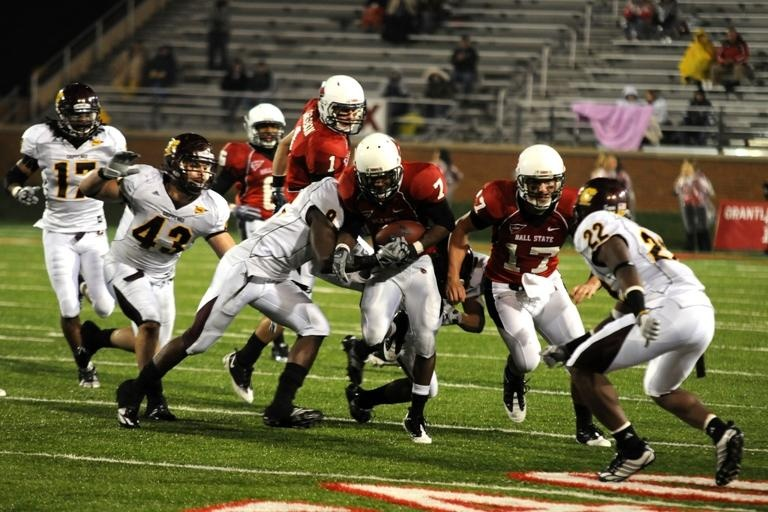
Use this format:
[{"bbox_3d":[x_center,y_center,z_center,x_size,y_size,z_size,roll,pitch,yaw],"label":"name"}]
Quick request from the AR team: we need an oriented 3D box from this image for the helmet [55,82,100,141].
[{"bbox_3d":[-2.799,-1.330,10.139,0.416,0.449,0.498,-2,8,-11],"label":"helmet"}]

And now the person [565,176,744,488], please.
[{"bbox_3d":[2.049,0.533,8.211,1.314,2.069,1.095,3,15,9],"label":"person"}]

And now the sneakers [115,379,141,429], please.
[{"bbox_3d":[-2.040,1.164,8.706,0.167,0.354,0.192,-5,16,-21],"label":"sneakers"}]

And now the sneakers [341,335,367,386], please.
[{"bbox_3d":[-0.244,0.857,9.243,0.164,0.445,0.215,0,-6,16],"label":"sneakers"}]

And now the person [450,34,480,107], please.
[{"bbox_3d":[1.472,-3.396,19.861,0.476,1.144,0.500,2,15,3],"label":"person"}]

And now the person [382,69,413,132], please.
[{"bbox_3d":[0.215,-2.747,19.863,0.479,1.123,0.500,1,15,-1],"label":"person"}]

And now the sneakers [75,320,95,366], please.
[{"bbox_3d":[-2.665,0.759,9.699,0.136,0.373,0.274,9,-11,-20],"label":"sneakers"}]

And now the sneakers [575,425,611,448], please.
[{"bbox_3d":[1.650,1.413,8.656,0.279,0.110,0.142,2,4,27],"label":"sneakers"}]

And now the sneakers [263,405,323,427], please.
[{"bbox_3d":[-0.721,1.259,8.778,0.495,0.206,0.179,-2,-7,-5],"label":"sneakers"}]

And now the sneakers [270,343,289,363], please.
[{"bbox_3d":[-1.010,0.938,10.620,0.152,0.113,0.278,0,-3,-12],"label":"sneakers"}]

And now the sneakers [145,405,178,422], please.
[{"bbox_3d":[-1.828,1.272,8.869,0.310,0.121,0.105,-1,-3,12],"label":"sneakers"}]

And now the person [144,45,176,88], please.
[{"bbox_3d":[-4.485,-3.846,22.047,0.701,0.870,0.293,-7,1,16],"label":"person"}]

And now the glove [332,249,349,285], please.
[{"bbox_3d":[-0.330,0.078,8.642,0.107,0.275,0.123,-3,27,19],"label":"glove"}]

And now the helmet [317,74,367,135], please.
[{"bbox_3d":[-0.378,-1.418,10.038,0.428,0.428,0.541,-18,36,-39],"label":"helmet"}]

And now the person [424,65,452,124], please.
[{"bbox_3d":[0.986,-3.004,20.254,0.525,0.800,1.011,1,14,2],"label":"person"}]

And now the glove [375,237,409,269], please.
[{"bbox_3d":[0.069,-0.039,8.592,0.243,0.196,0.107,-19,-9,1],"label":"glove"}]

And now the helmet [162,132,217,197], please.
[{"bbox_3d":[-1.651,-0.788,9.057,0.501,0.452,0.377,12,4,36],"label":"helmet"}]

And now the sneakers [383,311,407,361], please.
[{"bbox_3d":[0.094,0.659,9.065,0.190,0.434,0.152,-3,3,-3],"label":"sneakers"}]

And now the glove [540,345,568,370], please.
[{"bbox_3d":[1.275,0.755,8.215,0.214,0.151,0.101,-28,-32,-2],"label":"glove"}]

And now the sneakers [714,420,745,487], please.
[{"bbox_3d":[2.516,1.431,7.984,0.184,0.450,0.237,5,15,17],"label":"sneakers"}]

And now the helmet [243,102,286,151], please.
[{"bbox_3d":[-1.206,-1.369,11.296,0.433,0.392,0.481,-5,19,-14],"label":"helmet"}]

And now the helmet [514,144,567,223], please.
[{"bbox_3d":[1.265,-0.651,8.912,0.392,0.436,0.514,-2,13,-2],"label":"helmet"}]

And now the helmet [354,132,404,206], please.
[{"bbox_3d":[-0.046,-0.751,8.825,0.435,0.461,0.575,-4,31,6],"label":"helmet"}]

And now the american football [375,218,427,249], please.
[{"bbox_3d":[0.127,-0.179,8.721,0.315,0.094,0.215,-7,24,12],"label":"american football"}]

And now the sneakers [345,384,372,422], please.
[{"bbox_3d":[-0.207,1.191,9.019,0.147,0.369,0.185,-1,-1,21],"label":"sneakers"}]

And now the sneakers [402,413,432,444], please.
[{"bbox_3d":[0.275,1.342,8.669,0.207,0.197,0.248,-2,15,-13],"label":"sneakers"}]

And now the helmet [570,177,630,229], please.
[{"bbox_3d":[1.698,-0.433,8.592,0.418,0.385,0.325,3,-5,15],"label":"helmet"}]

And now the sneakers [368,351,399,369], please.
[{"bbox_3d":[-0.019,0.865,9.193,0.213,0.080,0.145,1,-7,0],"label":"sneakers"}]

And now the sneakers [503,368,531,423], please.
[{"bbox_3d":[1.099,1.142,9.032,0.176,0.442,0.195,-3,2,5],"label":"sneakers"}]

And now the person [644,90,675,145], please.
[{"bbox_3d":[3.558,-1.837,14.560,0.489,0.779,0.395,-1,23,-2],"label":"person"}]
